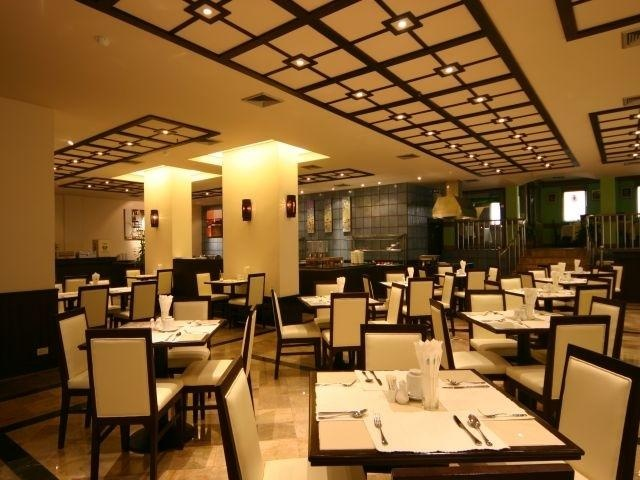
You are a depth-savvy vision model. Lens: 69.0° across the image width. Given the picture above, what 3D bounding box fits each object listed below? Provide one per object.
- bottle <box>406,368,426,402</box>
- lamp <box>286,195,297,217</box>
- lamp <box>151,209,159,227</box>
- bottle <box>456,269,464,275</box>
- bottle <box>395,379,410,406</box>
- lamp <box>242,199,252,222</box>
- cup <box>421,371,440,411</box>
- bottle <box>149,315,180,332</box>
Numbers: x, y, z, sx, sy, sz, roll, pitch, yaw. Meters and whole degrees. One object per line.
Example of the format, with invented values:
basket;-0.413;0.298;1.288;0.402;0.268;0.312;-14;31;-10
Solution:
bottle;0.672;1.028;3.334;0.170;0.197;0.171;-1;-5;-28
lamp;-0.587;-0.699;9.589;0.106;0.467;0.296;-1;2;33
lamp;-4.208;-0.547;11.828;0.286;0.325;0.069;-1;2;32
bottle;2.934;0.681;9.831;0.155;0.132;0.310;2;3;12
bottle;0.572;1.065;3.288;0.127;0.184;0.141;0;-4;4
lamp;-1.535;-0.612;9.704;0.214;0.467;0.122;-1;2;36
cup;0.758;1.036;3.241;0.114;0.250;0.085;-1;2;19
bottle;-1.657;0.911;5.050;0.196;0.066;0.200;1;0;0
